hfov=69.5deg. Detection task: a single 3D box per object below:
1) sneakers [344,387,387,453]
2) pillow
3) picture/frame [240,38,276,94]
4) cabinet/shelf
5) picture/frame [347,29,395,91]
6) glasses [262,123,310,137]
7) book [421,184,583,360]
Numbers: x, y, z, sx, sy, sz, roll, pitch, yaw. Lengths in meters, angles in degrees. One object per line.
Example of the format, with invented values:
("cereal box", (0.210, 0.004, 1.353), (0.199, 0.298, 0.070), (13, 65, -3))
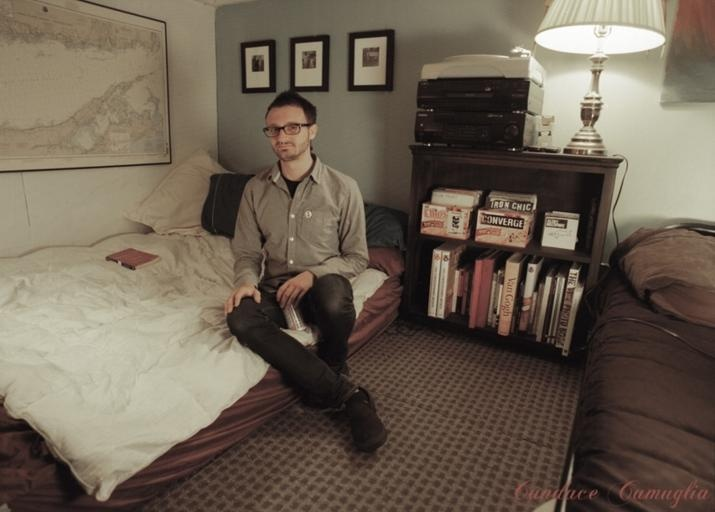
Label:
("sneakers", (0.012, 0.695, 2.244), (0.122, 0.121, 0.307), (-22, 18, -5))
("pillow", (-1.013, -0.352, 3.545), (1.456, 0.251, 0.642), (8, 47, 18))
("picture/frame", (-0.714, -1.346, 3.669), (0.020, 0.333, 0.326), (21, 30, 27))
("cabinet/shelf", (0.859, 0.001, 2.788), (1.098, 1.016, 0.383), (9, 15, 26))
("picture/frame", (0.096, -1.253, 3.248), (0.384, 0.374, 0.029), (12, 20, 31))
("glasses", (-0.327, -0.589, 2.406), (0.212, 0.069, 0.070), (0, 19, -3))
("book", (0.820, 0.094, 2.848), (0.837, 0.747, 0.324), (12, 23, 21))
